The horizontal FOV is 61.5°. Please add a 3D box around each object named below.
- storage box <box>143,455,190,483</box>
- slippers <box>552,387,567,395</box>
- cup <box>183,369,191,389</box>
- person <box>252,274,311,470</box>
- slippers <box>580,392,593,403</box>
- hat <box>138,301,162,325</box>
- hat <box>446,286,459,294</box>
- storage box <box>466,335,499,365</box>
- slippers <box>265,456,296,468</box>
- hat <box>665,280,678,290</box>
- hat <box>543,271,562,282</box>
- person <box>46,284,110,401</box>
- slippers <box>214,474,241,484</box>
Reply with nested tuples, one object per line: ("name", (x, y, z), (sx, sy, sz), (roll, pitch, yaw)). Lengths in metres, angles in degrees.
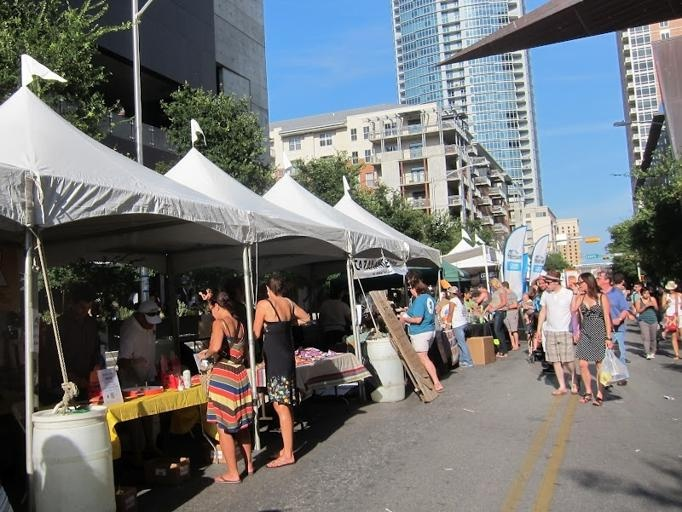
("storage box", (-2.171, 2.668, 7.192), (0.338, 0.236, 0.355), (1, -4, 6))
("slippers", (4.061, 2.516, 10.618), (0.271, 0.105, 0.143), (4, -11, -42))
("cup", (-2.016, 1.614, 7.466), (0.161, 0.306, 0.169), (-2, -12, 0))
("person", (-0.793, 1.517, 7.853), (0.721, 2.495, 0.706), (-6, 0, -6))
("slippers", (4.324, 2.496, 10.091), (0.123, 0.143, 0.357), (-15, -14, 36))
("hat", (-2.730, 0.796, 8.335), (0.332, 0.338, 0.290), (-5, 15, 1))
("hat", (3.111, 0.960, 16.257), (0.320, 0.183, 0.467), (1, 6, -30))
("storage box", (3.874, 2.556, 15.808), (0.696, 0.750, 0.715), (-8, -1, -3))
("slippers", (-0.809, 2.713, 7.554), (0.372, 0.126, 0.255), (-7, -1, -2))
("hat", (9.547, 0.860, 16.565), (0.413, 0.203, 0.493), (-9, -7, 29))
("hat", (3.926, 0.374, 10.665), (0.341, 0.155, 0.412), (0, -2, 7))
("person", (-3.612, 1.097, 7.700), (0.701, 1.455, 1.487), (-6, -1, -25))
("slippers", (-1.408, 2.779, 7.079), (0.267, 0.079, 0.133), (3, -10, 12))
